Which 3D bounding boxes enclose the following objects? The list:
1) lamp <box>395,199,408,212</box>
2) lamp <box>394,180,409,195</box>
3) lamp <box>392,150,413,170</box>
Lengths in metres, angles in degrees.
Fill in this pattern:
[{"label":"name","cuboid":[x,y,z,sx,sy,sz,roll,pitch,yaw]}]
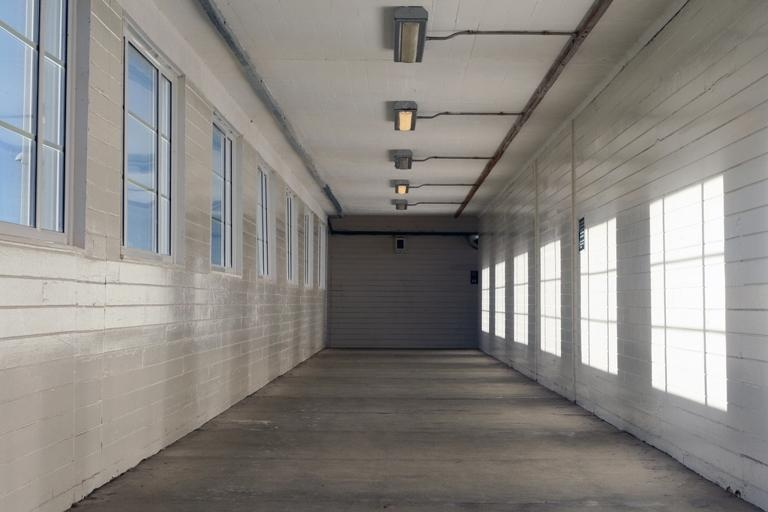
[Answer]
[{"label":"lamp","cuboid":[0.423,-1.305,13.303,0.169,0.207,0.231,-2,-2,7]},{"label":"lamp","cuboid":[0.368,-1.466,11.145,0.200,0.184,0.198,2,-3,7]},{"label":"lamp","cuboid":[0.320,-1.671,9.213,0.231,0.326,0.252,-4,-3,11]}]
